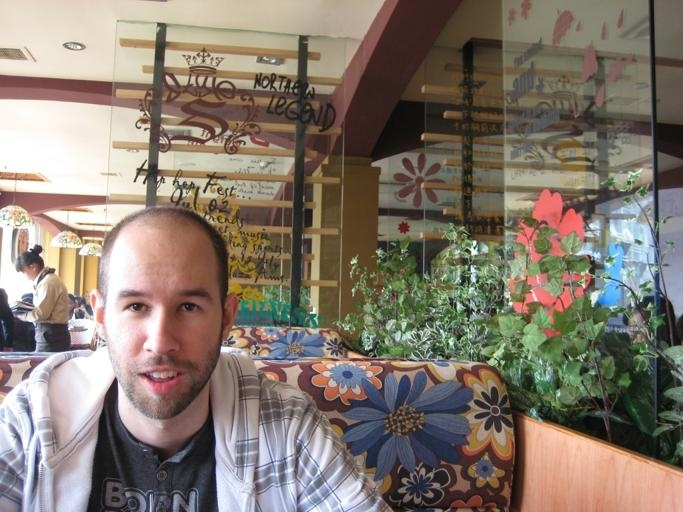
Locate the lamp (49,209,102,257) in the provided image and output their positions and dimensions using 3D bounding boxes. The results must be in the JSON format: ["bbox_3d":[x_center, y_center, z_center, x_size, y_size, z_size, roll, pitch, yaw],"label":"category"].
[{"bbox_3d":[-6.934,-0.636,15.388,1.102,1.278,1.115,-2,1,-7],"label":"lamp"}]

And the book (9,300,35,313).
[{"bbox_3d":[-3.493,0.565,6.493,0.244,0.080,0.248,0,-1,37],"label":"book"}]
